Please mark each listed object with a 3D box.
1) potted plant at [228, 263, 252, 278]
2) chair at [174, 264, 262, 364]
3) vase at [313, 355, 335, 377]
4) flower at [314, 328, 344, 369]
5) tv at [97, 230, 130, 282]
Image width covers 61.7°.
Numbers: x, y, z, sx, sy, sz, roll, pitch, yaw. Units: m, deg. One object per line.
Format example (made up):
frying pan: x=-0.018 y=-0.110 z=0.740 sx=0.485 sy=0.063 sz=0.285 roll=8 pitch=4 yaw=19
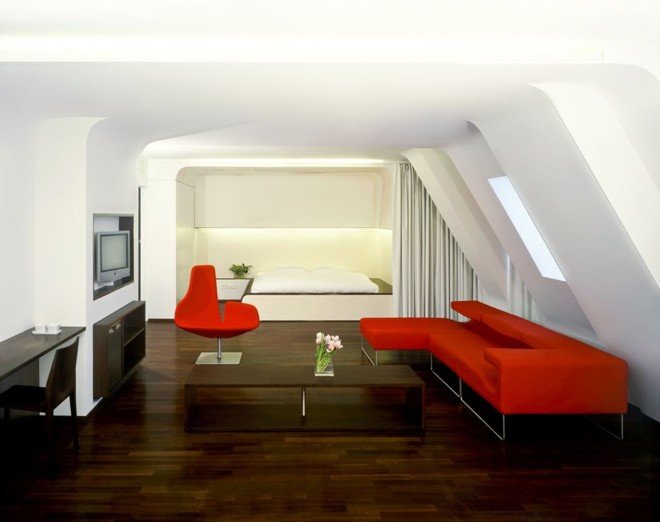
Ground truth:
potted plant: x=-1.612 y=0.162 z=9.928 sx=0.280 sy=0.183 sz=0.283 roll=0 pitch=1 yaw=43
chair: x=-1.243 y=0.574 z=6.033 sx=0.890 sy=1.008 sz=0.804 roll=0 pitch=0 yaw=27
vase: x=-0.051 y=0.875 z=4.691 sx=0.190 sy=0.182 sz=0.139 roll=0 pitch=2 yaw=1
flower: x=-0.024 y=0.766 z=4.685 sx=0.196 sy=0.325 sz=0.209 roll=0 pitch=13 yaw=-4
tv: x=-2.116 y=-0.051 z=5.191 sx=0.214 sy=0.457 sz=0.560 roll=2 pitch=5 yaw=5
